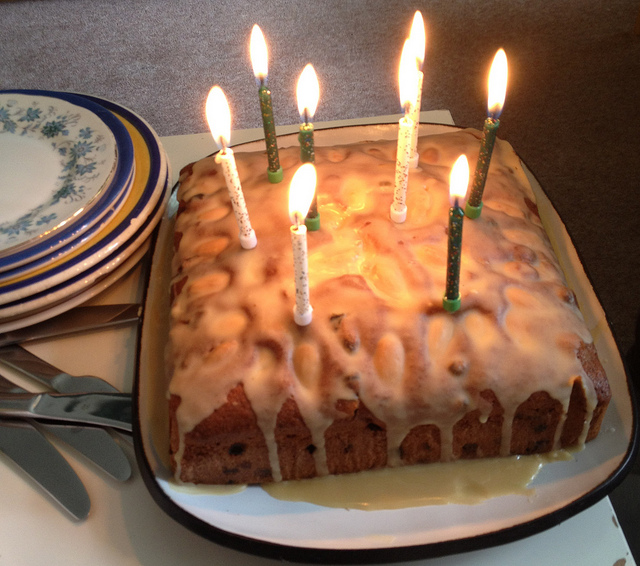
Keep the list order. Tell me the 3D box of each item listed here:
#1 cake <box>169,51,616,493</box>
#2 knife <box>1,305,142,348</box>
[{"bbox_3d":[0.090,0.041,0.880,0.639,0.223,0.720,-5,53,-4],"label":"cake"},{"bbox_3d":[-0.441,0.080,0.973,0.175,0.014,0.032,-16,63,-14],"label":"knife"}]
